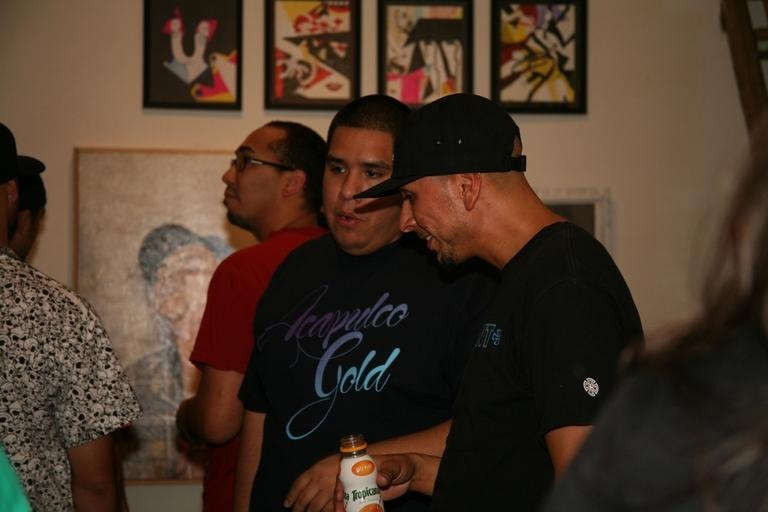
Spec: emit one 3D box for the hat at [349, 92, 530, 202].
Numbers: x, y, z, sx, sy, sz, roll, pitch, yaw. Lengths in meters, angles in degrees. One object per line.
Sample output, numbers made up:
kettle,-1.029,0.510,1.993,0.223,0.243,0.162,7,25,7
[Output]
hat,0.204,-0.319,2.114,0.363,0.204,0.264,-5,1,5
